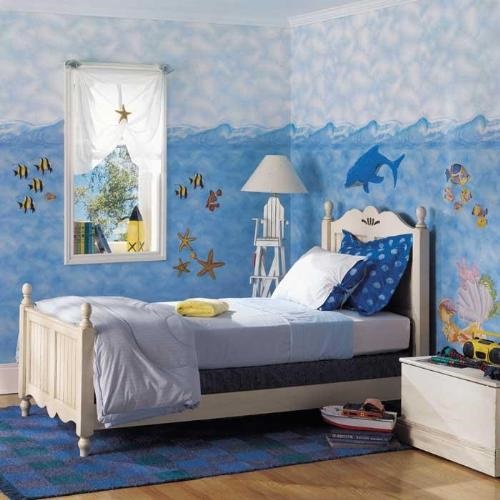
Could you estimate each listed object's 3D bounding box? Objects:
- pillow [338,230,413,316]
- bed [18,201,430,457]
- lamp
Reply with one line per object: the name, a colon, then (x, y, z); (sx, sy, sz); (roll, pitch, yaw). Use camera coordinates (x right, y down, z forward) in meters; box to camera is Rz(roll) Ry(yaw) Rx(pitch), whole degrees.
pillow: (0.832, 0.148, 4.477); (0.134, 0.472, 0.487); (20, -10, -30)
bed: (-0.150, 0.310, 4.477); (2.343, 1.575, 1.309); (-2, 2, -22)
lamp: (0.195, -0.580, 5.451); (0.539, 0.347, 0.528); (-11, 19, -44)
